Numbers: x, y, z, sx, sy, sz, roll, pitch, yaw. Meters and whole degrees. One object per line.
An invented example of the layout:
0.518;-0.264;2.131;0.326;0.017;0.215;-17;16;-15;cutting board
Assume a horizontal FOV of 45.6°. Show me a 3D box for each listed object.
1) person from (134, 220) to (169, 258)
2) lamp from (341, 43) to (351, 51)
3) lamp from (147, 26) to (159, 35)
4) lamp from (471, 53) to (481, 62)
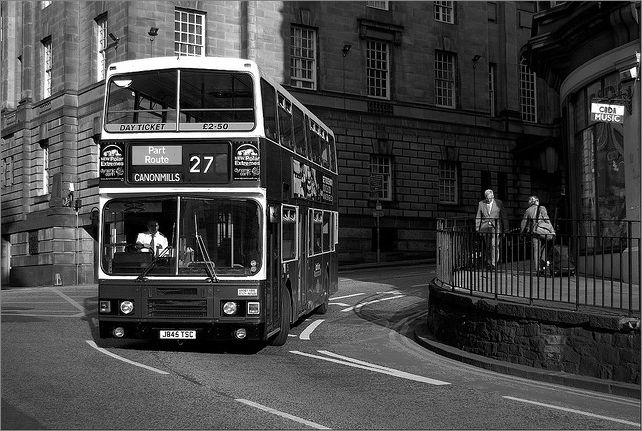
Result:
-4.005;0.606;18.279;0.840;1.257;0.754;-1;-2;-5;person
1.368;-9.406;43.186;0.444;0.447;0.109;-13;44;-44;lamp
-8.331;-9.026;37.579;0.467;0.539;0.446;1;5;-10;lamp
9.608;-9.717;47.612;0.432;0.182;0.729;1;-26;0;lamp
